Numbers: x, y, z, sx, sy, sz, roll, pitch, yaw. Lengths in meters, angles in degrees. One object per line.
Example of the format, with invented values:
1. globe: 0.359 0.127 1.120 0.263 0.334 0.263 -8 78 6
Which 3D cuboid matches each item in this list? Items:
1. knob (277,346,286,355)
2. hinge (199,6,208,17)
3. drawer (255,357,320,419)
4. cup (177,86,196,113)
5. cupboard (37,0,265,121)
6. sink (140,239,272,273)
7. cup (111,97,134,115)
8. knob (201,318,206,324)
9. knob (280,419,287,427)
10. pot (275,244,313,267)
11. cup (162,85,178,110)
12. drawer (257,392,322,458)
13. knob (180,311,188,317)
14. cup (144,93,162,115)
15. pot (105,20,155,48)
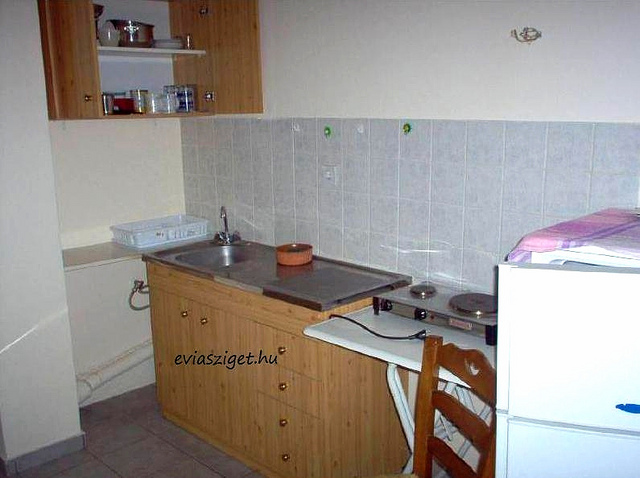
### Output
1. knob: -0.191 0.548 2.524 0.039 0.038 0.010 -3 -2 34
2. hinge: -0.755 -1.481 3.348 0.064 0.049 0.022 -7 4 30
3. drawer: -0.152 0.728 2.533 0.352 0.166 0.225 12 12 40
4. cup: -0.873 -0.912 3.351 0.103 0.166 0.083 -3 15 -14
5. cupboard: -1.045 -1.116 3.200 0.881 0.826 0.643 -9 15 -36
6. sink: -0.686 0.126 3.253 0.548 0.155 0.627 14 19 41
7. cup: -1.192 -0.807 3.111 0.155 0.100 0.080 -11 19 -37
8. knob: -0.650 0.462 2.873 0.023 0.021 0.005 6 -2 29
9. knob: -0.182 0.924 2.589 0.027 0.037 0.010 4 -5 33
10. pot: -0.142 0.088 2.928 0.149 0.061 0.149 -1 13 0
11. cup: -0.967 -0.914 3.319 0.097 0.146 0.107 -3 15 -14
12. drawer: -0.147 0.919 2.582 0.431 0.208 0.220 12 12 39
13. knob: -0.790 0.437 2.993 0.031 0.031 0.012 20 3 31
14. cup: -1.047 -0.855 3.235 0.131 0.142 0.129 1 15 0
15. pot: -1.142 -1.252 3.181 0.226 0.107 0.173 17 19 42
